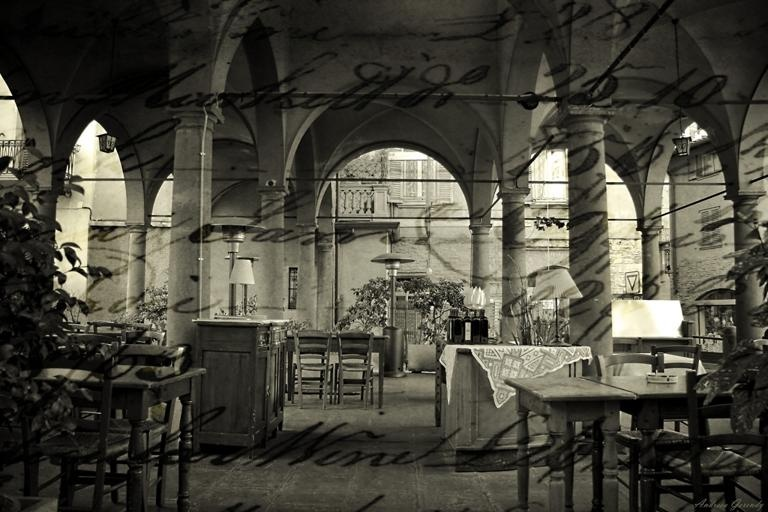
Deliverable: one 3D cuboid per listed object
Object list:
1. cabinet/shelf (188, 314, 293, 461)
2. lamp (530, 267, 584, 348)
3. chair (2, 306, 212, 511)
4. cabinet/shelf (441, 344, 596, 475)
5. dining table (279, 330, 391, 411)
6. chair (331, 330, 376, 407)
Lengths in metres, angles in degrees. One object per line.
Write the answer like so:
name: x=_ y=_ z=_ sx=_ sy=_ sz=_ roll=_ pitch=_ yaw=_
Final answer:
cabinet/shelf: x=-2.370 y=2.115 z=16.588 sx=0.975 sy=1.759 sz=2.225 roll=0 pitch=-6 yaw=1
lamp: x=2.794 y=0.836 z=16.931 sx=1.172 sy=1.162 sz=1.158 roll=-3 pitch=-13 yaw=23
chair: x=-4.192 y=2.222 z=14.767 sx=2.710 sy=2.965 sz=2.519 roll=1 pitch=-5 yaw=11
cabinet/shelf: x=2.034 y=2.447 z=17.178 sx=2.350 sy=1.933 sz=1.967 roll=1 pitch=-8 yaw=-8
dining table: x=-0.938 y=1.931 z=19.702 sx=2.442 sy=1.613 sz=1.392 roll=0 pitch=-10 yaw=4
chair: x=-0.581 y=2.144 z=19.827 sx=0.740 sy=1.412 sz=1.834 roll=-1 pitch=-9 yaw=-3
